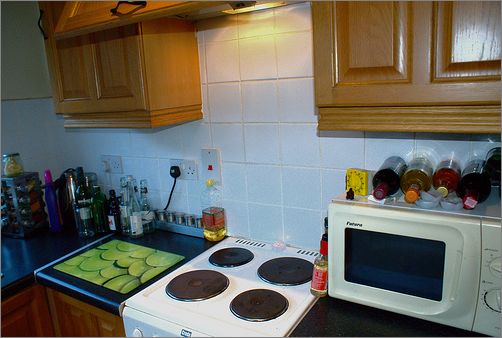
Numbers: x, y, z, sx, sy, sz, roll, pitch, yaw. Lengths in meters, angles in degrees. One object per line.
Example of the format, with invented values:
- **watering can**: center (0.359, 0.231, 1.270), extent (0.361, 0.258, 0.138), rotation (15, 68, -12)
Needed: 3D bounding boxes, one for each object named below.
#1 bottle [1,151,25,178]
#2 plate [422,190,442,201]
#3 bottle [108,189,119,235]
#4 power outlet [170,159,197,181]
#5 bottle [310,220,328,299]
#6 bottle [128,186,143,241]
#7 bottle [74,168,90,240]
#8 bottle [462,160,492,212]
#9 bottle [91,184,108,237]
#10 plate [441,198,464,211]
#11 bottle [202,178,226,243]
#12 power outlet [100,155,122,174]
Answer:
- **bottle**: center (-1.465, -0.027, 2.104), extent (0.099, 0.141, 0.093), rotation (-4, 8, 1)
- **plate**: center (0.660, 0.094, 1.251), extent (0.084, 0.034, 0.061), rotation (-11, 10, -43)
- **bottle**: center (-0.842, 0.258, 2.098), extent (0.073, 0.268, 0.059), rotation (-8, 9, -22)
- **power outlet**: center (-0.399, 0.001, 2.040), extent (0.190, 0.123, 0.014), rotation (0, 9, 29)
- **bottle**: center (0.300, 0.384, 1.529), extent (0.085, 0.297, 0.208), rotation (-3, 8, 12)
- **bottle**: center (-0.699, 0.245, 2.041), extent (0.078, 0.316, 0.125), rotation (-7, 9, -19)
- **bottle**: center (-1.053, 0.196, 2.136), extent (0.099, 0.419, 0.210), rotation (-9, 9, -26)
- **bottle**: center (0.830, 0.054, 1.280), extent (0.093, 0.145, 0.298), rotation (1, 9, 33)
- **bottle**: center (-0.925, 0.267, 2.108), extent (0.083, 0.250, 0.041), rotation (-8, 9, -24)
- **plate**: center (0.704, 0.123, 1.207), extent (0.046, 0.027, 0.053), rotation (2, 5, 7)
- **bottle**: center (-0.225, 0.241, 1.956), extent (0.141, 0.329, 0.105), rotation (-3, 8, 9)
- **power outlet**: center (-0.937, -0.039, 2.309), extent (0.125, 0.082, 0.017), rotation (6, 10, 29)
